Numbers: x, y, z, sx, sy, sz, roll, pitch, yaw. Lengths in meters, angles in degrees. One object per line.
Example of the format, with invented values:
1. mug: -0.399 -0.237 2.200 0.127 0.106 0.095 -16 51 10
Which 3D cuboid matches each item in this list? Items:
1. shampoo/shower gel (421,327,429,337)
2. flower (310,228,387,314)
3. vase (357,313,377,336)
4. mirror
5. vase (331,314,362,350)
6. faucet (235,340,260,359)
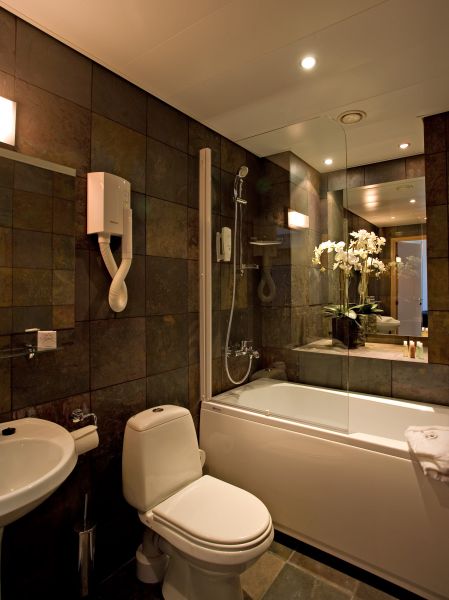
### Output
1. shampoo/shower gel: 1.371 0.222 3.017 0.030 0.066 0.012 1 2 29
2. flower: 0.728 -0.154 2.587 0.454 0.666 0.293 0 -2 -31
3. vase: 0.998 0.173 3.078 0.127 0.157 0.069 6 -8 -40
4. mirror: 1.372 -0.341 4.001 0.872 2.169 0.897 -1 1 28
5. vase: 0.655 0.172 2.375 0.172 0.231 0.192 0 -4 -19
6. faucet: 0.128 0.296 2.606 0.082 0.083 0.112 5 -9 -41
